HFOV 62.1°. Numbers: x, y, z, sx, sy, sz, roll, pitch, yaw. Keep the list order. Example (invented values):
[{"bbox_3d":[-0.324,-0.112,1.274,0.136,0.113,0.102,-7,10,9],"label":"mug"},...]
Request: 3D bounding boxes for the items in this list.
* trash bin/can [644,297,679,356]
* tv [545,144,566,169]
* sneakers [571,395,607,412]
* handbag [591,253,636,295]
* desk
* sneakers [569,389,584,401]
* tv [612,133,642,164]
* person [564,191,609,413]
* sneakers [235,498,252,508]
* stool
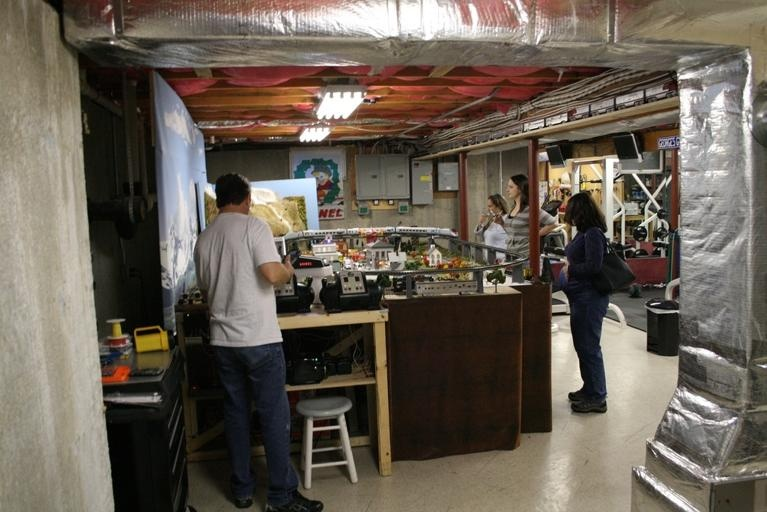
[{"bbox_3d":[3.155,0.794,7.263,0.221,0.633,0.409,-7,14,-20],"label":"trash bin/can"},{"bbox_3d":[2.763,-1.591,10.222,0.290,0.346,0.436,2,14,14],"label":"tv"},{"bbox_3d":[1.868,1.349,5.846,0.313,0.127,0.128,3,1,1],"label":"sneakers"},{"bbox_3d":[2.025,0.165,5.602,0.346,0.351,0.217,-8,15,-25],"label":"handbag"},{"bbox_3d":[-0.712,0.973,4.904,0.652,1.219,1.654,9,6,39],"label":"desk"},{"bbox_3d":[1.803,1.312,6.003,0.166,0.064,0.063,0,-1,0],"label":"sneakers"},{"bbox_3d":[3.286,-1.480,8.696,0.325,0.341,0.438,3,14,19],"label":"tv"},{"bbox_3d":[1.843,0.421,5.749,0.414,1.945,0.442,1,14,10],"label":"person"},{"bbox_3d":[-0.987,1.765,4.562,0.135,0.051,0.055,-1,3,-5],"label":"sneakers"},{"bbox_3d":[-0.437,1.411,4.859,0.463,0.540,0.457,-4,-1,-1],"label":"stool"}]
